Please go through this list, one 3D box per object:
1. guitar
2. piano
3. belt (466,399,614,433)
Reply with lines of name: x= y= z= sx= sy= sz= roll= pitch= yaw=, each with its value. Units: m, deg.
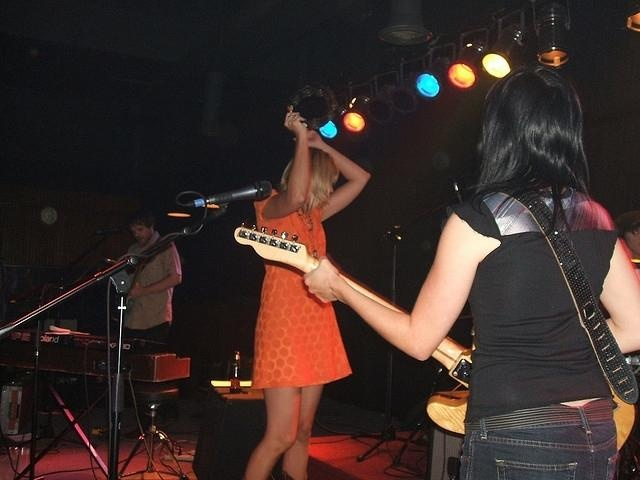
guitar: x=0.491 y=0.539 z=2.641 sx=2.052 sy=0.748 sz=0.217 roll=30 pitch=-12 yaw=-40
piano: x=-1.946 y=0.974 z=4.434 sx=1.499 sy=0.427 sz=0.773 roll=-7 pitch=-21 yaw=21
belt: x=0.709 y=0.552 z=1.645 sx=0.481 sy=0.108 sz=0.185 roll=4 pitch=-20 yaw=-9
